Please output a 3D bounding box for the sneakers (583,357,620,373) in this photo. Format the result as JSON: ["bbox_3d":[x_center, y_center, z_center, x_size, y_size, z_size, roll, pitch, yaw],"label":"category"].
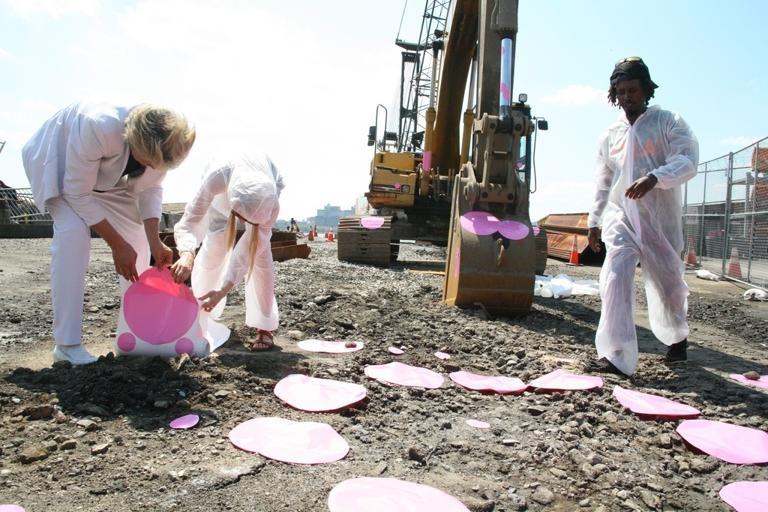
[{"bbox_3d":[1.753,0.880,4.339,0.310,0.098,0.277,2,4,-2],"label":"sneakers"}]

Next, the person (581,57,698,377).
[{"bbox_3d":[2.138,-0.352,4.397,0.821,2.570,0.722,5,5,28],"label":"person"}]

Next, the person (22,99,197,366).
[{"bbox_3d":[-1.965,-0.164,3.893,1.220,1.828,0.655,3,4,15],"label":"person"}]
